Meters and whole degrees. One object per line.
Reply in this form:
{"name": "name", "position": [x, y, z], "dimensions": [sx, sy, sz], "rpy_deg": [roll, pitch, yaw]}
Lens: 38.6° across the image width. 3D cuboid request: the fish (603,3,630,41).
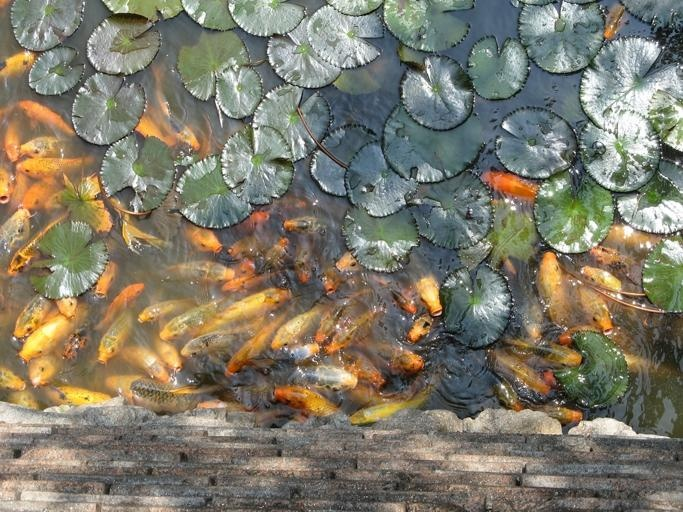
{"name": "fish", "position": [3.384, -2.915, 12.144], "dimensions": [0.296, 0.398, 0.173], "rpy_deg": [-13, 22, -38]}
